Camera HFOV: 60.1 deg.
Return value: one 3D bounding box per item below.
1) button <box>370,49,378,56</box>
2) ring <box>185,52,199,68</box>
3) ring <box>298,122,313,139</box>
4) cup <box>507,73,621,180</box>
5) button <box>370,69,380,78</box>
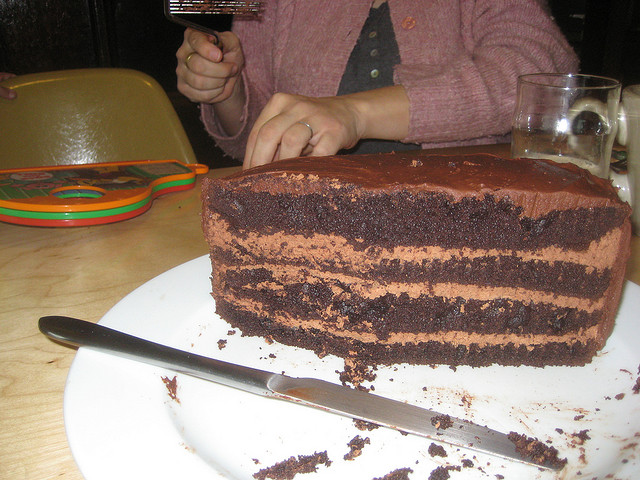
[{"bbox_3d":[0.300,-1.043,3.076,0.026,0.010,0.037,4,62,6],"label":"button"},{"bbox_3d":[-0.671,-0.931,2.849,0.017,0.068,0.073,21,22,11],"label":"ring"},{"bbox_3d":[-0.057,-0.459,2.312,0.063,0.068,0.032,14,32,27],"label":"ring"},{"bbox_3d":[0.953,-0.523,2.341,0.369,0.514,0.566,1,25,1],"label":"cup"},{"bbox_3d":[0.309,-0.935,3.106,0.049,0.043,0.022,0,28,4],"label":"button"}]
